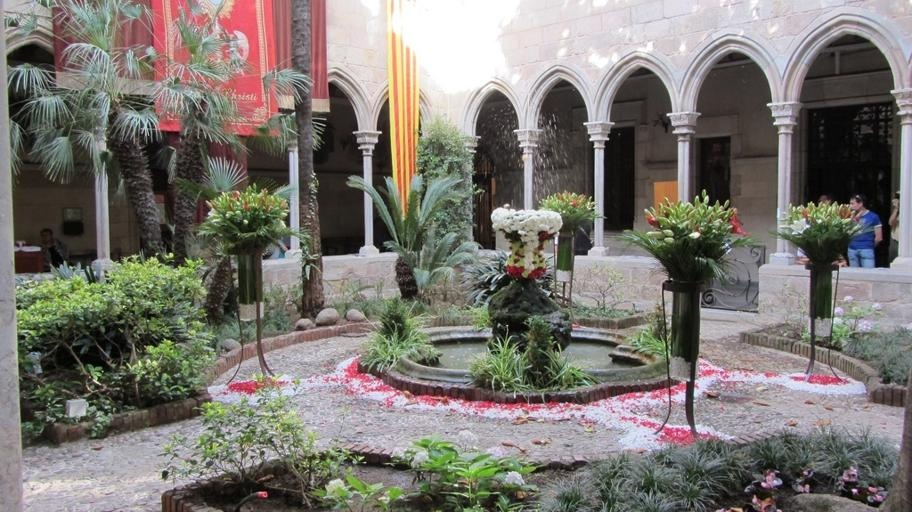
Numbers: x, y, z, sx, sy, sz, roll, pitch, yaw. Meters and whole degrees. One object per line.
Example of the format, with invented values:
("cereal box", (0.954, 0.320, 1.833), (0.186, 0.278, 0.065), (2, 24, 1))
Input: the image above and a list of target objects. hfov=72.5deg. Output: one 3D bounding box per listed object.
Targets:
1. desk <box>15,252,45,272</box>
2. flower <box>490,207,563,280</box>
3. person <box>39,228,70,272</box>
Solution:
("desk", (-9.171, 0.105, 13.332), (0.444, 0.385, 0.236), (-1, 4, -35))
("flower", (0.840, -0.199, 8.734), (0.929, 0.861, 0.890), (-1, 4, 35))
("person", (-8.938, -0.223, 13.827), (0.426, 0.782, 1.099), (-4, 4, -33))
